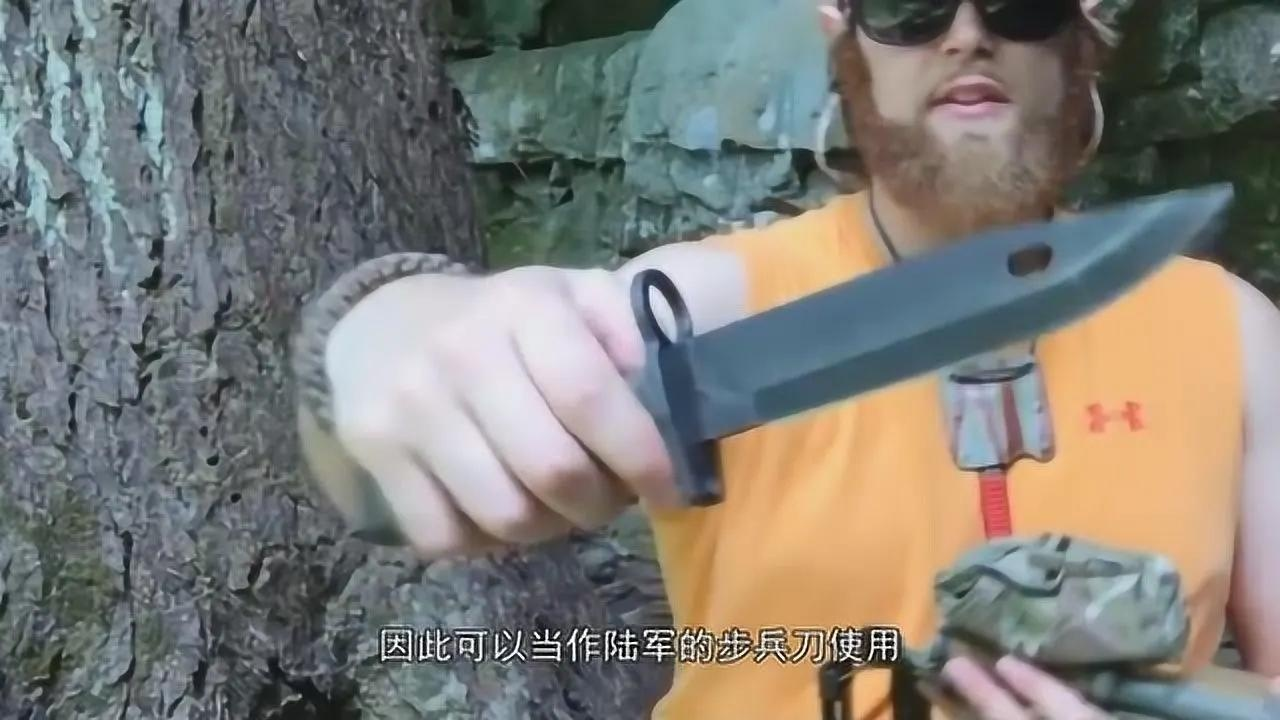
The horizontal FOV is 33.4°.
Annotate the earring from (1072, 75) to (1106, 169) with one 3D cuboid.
[{"bbox_3d":[0.634,-0.329,2.980,0.035,0.134,0.029,13,4,-5],"label":"earring"}]

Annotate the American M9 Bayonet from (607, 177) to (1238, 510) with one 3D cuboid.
[{"bbox_3d":[0.351,-0.044,2.765,0.724,0.255,0.179,-15,41,-11],"label":"American M9 Bayonet"}]
